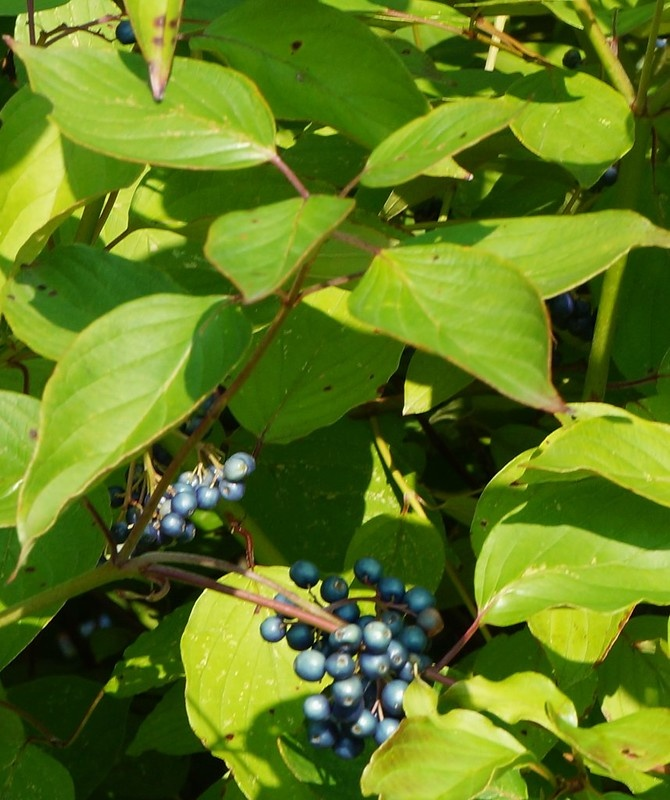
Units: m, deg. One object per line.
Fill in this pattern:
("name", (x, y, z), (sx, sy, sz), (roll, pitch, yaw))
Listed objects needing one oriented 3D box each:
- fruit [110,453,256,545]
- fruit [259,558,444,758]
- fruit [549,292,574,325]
("fruit", (-0.157, 0.117, 1.008), (0.152, 0.082, 0.052), (-33, 19, 1))
("fruit", (0.018, 0.219, 0.796), (0.126, 0.078, 0.177), (10, 56, -9))
("fruit", (0.304, -0.121, 1.277), (0.029, 0.034, 0.019), (-4, 21, -7))
